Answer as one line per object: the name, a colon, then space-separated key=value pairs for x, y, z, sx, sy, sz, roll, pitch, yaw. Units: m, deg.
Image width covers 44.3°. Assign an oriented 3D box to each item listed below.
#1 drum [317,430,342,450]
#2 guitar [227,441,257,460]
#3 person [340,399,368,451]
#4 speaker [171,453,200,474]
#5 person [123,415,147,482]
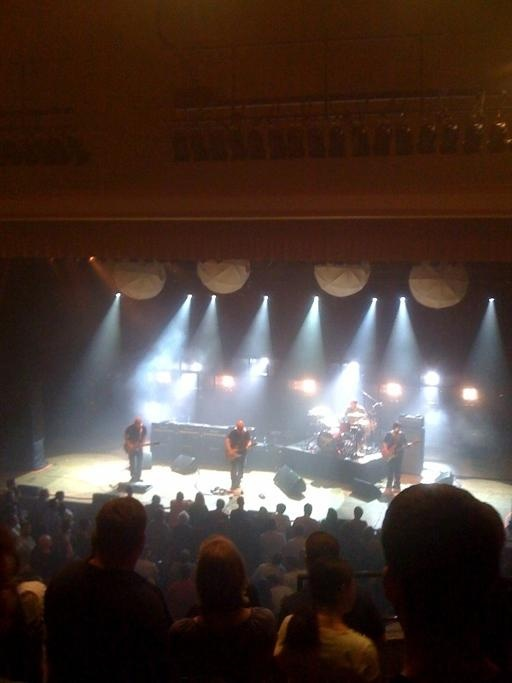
drum: x=1.363 y=1.879 z=11.796 sx=0.316 sy=0.285 sz=0.647 roll=1 pitch=0 yaw=-17
guitar: x=-0.298 y=1.879 z=10.915 sx=0.427 sy=0.330 sz=0.314 roll=1 pitch=-1 yaw=-6
person: x=1.944 y=1.650 z=12.256 sx=0.651 sy=0.774 sz=0.832 roll=2 pitch=1 yaw=-2
speaker: x=-1.372 y=2.400 z=12.226 sx=0.402 sy=0.284 sz=0.316 roll=-2 pitch=-3 yaw=45
person: x=-2.184 y=1.956 z=11.371 sx=0.352 sy=1.201 sz=0.679 roll=1 pitch=-1 yaw=-5
